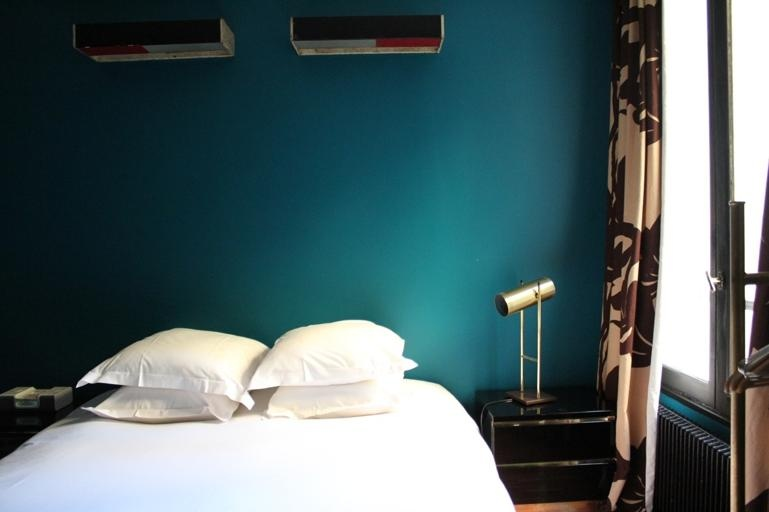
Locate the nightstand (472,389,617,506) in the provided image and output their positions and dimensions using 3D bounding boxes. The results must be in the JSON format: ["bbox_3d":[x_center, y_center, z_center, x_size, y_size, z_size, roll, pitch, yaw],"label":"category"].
[{"bbox_3d":[1.091,1.091,4.568,0.975,0.715,0.604,-1,5,-6],"label":"nightstand"}]
